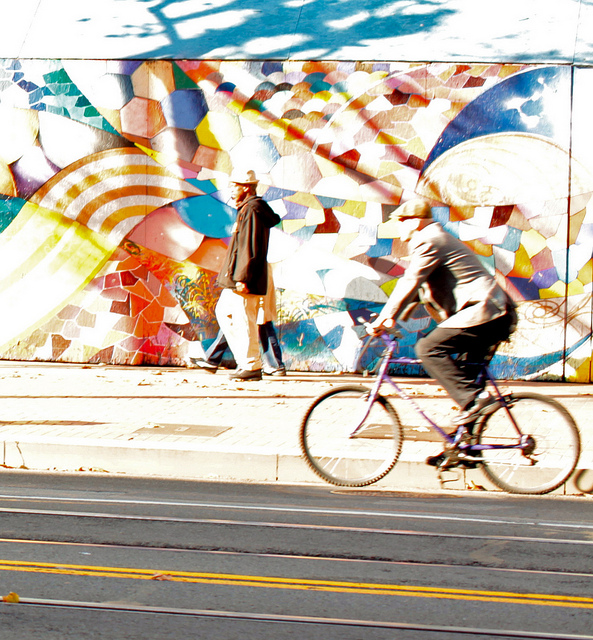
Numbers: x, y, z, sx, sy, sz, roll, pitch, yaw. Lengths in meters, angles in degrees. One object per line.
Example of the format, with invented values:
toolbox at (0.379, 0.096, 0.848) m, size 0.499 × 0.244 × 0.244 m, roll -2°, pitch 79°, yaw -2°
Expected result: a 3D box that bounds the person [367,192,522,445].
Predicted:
person at (0.952, 0.004, 6.137) m, size 0.865 × 1.339 × 1.239 m, roll -18°, pitch 41°, yaw -13°
